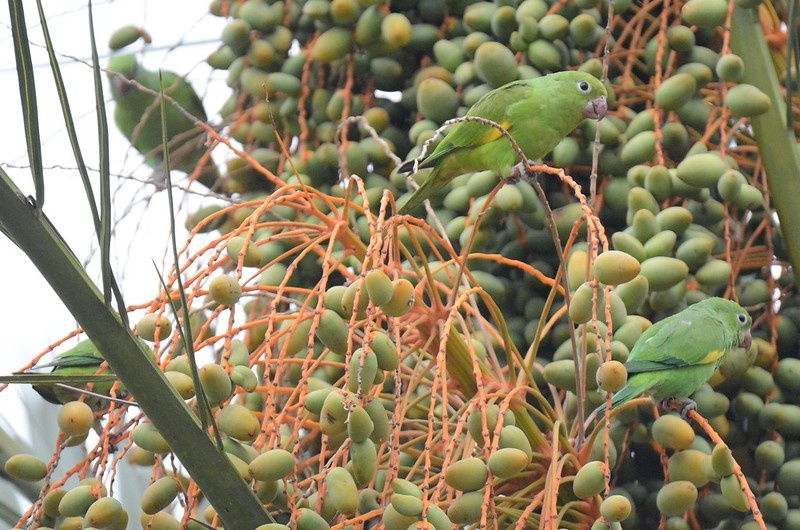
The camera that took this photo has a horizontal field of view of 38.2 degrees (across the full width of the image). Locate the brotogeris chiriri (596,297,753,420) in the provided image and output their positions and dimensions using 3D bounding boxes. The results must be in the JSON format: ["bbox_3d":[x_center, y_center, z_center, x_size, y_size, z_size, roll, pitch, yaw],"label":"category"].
[{"bbox_3d":[0.516,0.177,2.192,0.287,0.263,0.127,5,1,3],"label":"brotogeris chiriri"}]

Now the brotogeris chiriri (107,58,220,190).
[{"bbox_3d":[-0.600,-0.392,2.896,0.173,0.402,0.392,6,21,13],"label":"brotogeris chiriri"}]

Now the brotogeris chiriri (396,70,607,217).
[{"bbox_3d":[0.194,-0.225,2.442,0.492,0.236,0.179,-11,-42,20],"label":"brotogeris chiriri"}]
